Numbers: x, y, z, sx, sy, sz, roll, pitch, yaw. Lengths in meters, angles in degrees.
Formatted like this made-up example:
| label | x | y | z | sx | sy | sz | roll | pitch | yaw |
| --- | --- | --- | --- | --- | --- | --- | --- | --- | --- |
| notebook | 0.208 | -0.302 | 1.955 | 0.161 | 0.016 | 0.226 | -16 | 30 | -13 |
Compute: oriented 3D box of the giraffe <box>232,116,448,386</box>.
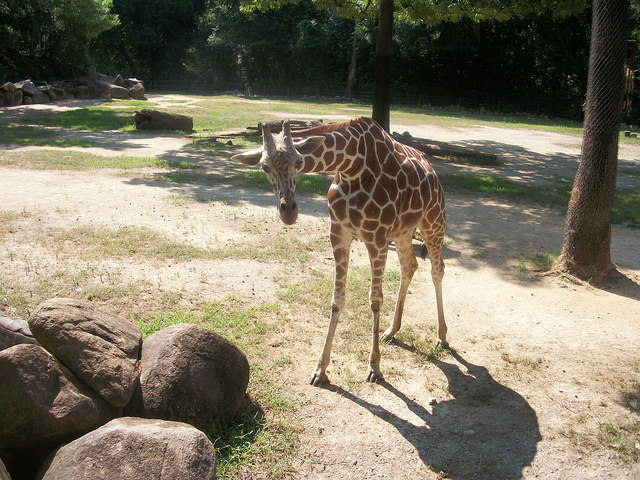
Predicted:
| label | x | y | z | sx | sy | sz | roll | pitch | yaw |
| --- | --- | --- | --- | --- | --- | --- | --- | --- | --- |
| giraffe | 0.670 | -0.049 | 9.714 | 2.969 | 3.730 | 1.205 | -13 | 24 | -25 |
